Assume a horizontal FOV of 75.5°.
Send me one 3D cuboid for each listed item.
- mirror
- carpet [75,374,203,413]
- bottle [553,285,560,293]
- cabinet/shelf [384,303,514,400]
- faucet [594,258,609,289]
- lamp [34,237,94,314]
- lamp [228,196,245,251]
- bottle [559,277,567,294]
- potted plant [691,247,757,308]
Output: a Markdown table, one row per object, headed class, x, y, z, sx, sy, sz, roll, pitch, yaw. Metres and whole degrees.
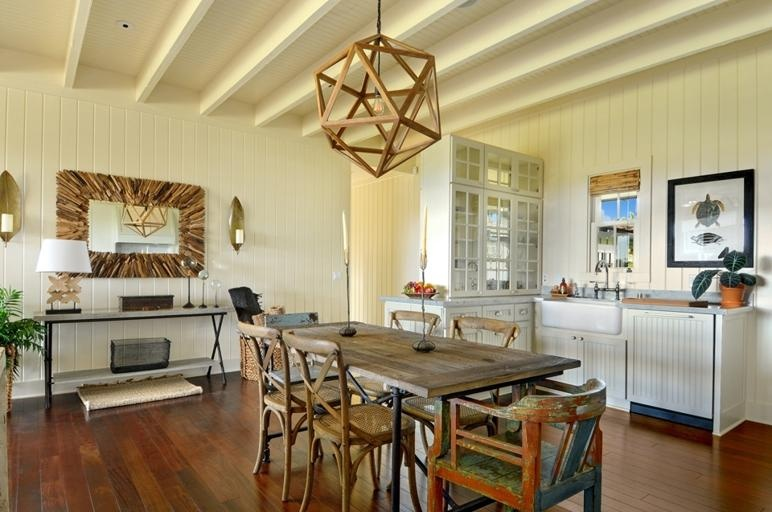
| class | x | y | z | sx | sy | sz | roll | pitch | yaw |
| --- | --- | --- | --- | --- | --- | --- | --- | --- | --- |
| mirror | -3.003 | -0.380 | 5.747 | 1.445 | 1.124 | 0.079 | 0 | 0 | -37 |
| carpet | -2.726 | 1.499 | 5.555 | 1.158 | 0.152 | 0.886 | 2 | -1 | -33 |
| bottle | 2.065 | 0.408 | 6.127 | 0.084 | 0.078 | 0.083 | 0 | 1 | 37 |
| cabinet/shelf | 0.643 | 0.937 | 4.867 | 1.126 | 0.710 | 0.621 | 4 | -8 | -37 |
| faucet | 2.574 | 0.205 | 5.967 | 0.082 | 0.333 | 0.164 | 3 | -1 | -42 |
| lamp | -3.381 | 0.197 | 5.286 | 0.470 | 0.783 | 0.609 | 2 | -1 | -32 |
| lamp | -1.923 | -0.407 | 6.488 | 0.208 | 0.617 | 0.100 | 2 | -1 | -30 |
| bottle | 2.196 | 0.362 | 6.190 | 0.096 | 0.189 | 0.298 | 1 | -1 | 20 |
| potted plant | 3.408 | 0.207 | 5.048 | 0.531 | 0.588 | 0.385 | 1 | -1 | 35 |
